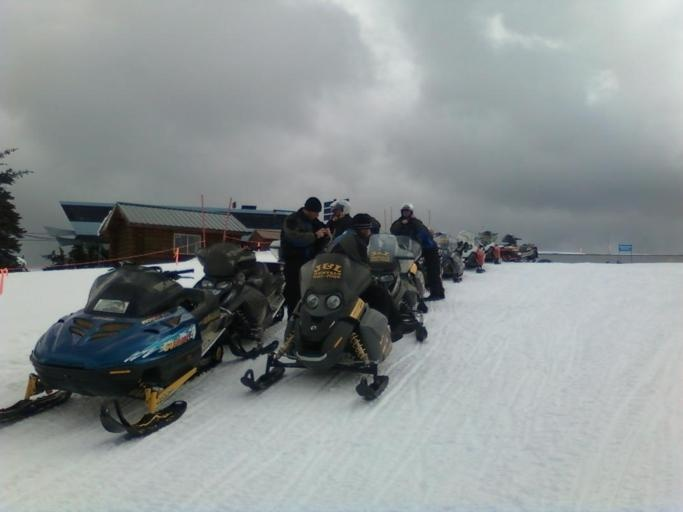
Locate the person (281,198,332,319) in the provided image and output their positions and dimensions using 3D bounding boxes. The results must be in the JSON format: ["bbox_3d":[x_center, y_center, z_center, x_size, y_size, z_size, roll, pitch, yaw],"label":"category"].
[{"bbox_3d":[-0.566,0.063,8.878,0.760,1.964,0.664,-3,10,-9],"label":"person"}]

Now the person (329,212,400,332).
[{"bbox_3d":[0.356,0.254,7.604,0.873,1.769,1.118,1,10,13],"label":"person"}]

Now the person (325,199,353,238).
[{"bbox_3d":[0.009,-0.692,10.047,0.410,0.716,0.787,-2,9,1],"label":"person"}]

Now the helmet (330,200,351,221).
[{"bbox_3d":[-0.014,-0.812,9.933,0.452,0.424,0.364,4,6,18],"label":"helmet"}]

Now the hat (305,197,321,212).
[{"bbox_3d":[-0.446,-0.788,8.748,0.250,0.248,0.328,-2,10,-7],"label":"hat"}]
